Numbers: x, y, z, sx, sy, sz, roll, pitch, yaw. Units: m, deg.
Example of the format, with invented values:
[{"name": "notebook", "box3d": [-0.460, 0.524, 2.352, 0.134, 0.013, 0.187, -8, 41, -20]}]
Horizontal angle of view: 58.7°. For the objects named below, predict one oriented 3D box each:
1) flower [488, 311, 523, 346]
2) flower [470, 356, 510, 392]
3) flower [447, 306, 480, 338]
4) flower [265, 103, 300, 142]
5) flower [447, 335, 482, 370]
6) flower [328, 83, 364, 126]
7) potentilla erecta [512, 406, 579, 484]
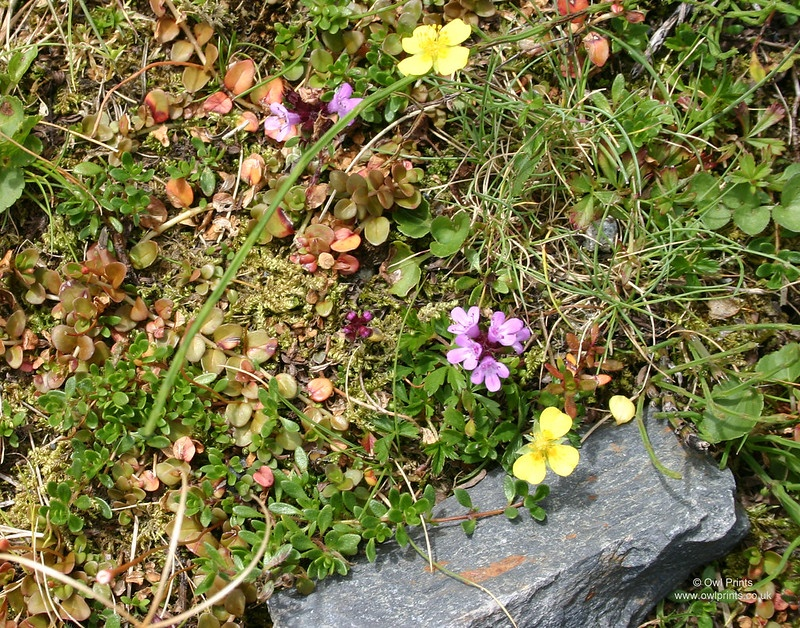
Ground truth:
[{"name": "flower", "box3d": [0.414, 0.067, 2.922, 0.134, 0.076, 0.137, 23, 82, -15]}, {"name": "flower", "box3d": [0.362, 0.256, 2.930, 0.122, 0.211, 0.131, 36, 82, 13]}, {"name": "flower", "box3d": [0.266, 0.038, 2.924, 0.113, 0.067, 0.128, 31, 99, 24]}, {"name": "flower", "box3d": [-0.510, -0.831, 3.090, 0.162, 0.089, 0.173, 2, 109, 6]}, {"name": "flower", "box3d": [0.267, 0.164, 2.914, 0.125, 0.164, 0.125, 23, 79, 11]}, {"name": "flower", "box3d": [-0.245, -0.930, 3.098, 0.126, 0.055, 0.146, 27, 79, 11]}, {"name": "potentilla erecta", "box3d": [0.584, 0.509, 2.808, 0.236, 0.266, 0.073, -31, 104, -34]}]
